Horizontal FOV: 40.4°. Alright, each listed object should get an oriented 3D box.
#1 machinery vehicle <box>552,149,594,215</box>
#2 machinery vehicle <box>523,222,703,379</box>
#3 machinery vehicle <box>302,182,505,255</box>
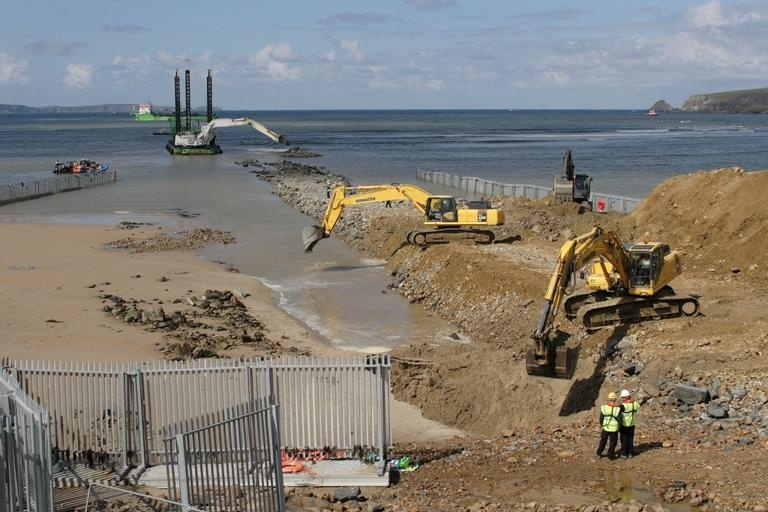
[{"bbox_3d":[10.070,-3.754,51.495,2.552,3.256,2.706,2,0,-2],"label":"machinery vehicle"},{"bbox_3d":[6.398,0.782,34.736,6.974,3.401,3.947,-14,10,-34],"label":"machinery vehicle"},{"bbox_3d":[0.467,-1.731,48.574,10.287,3.044,3.392,0,6,7],"label":"machinery vehicle"}]
